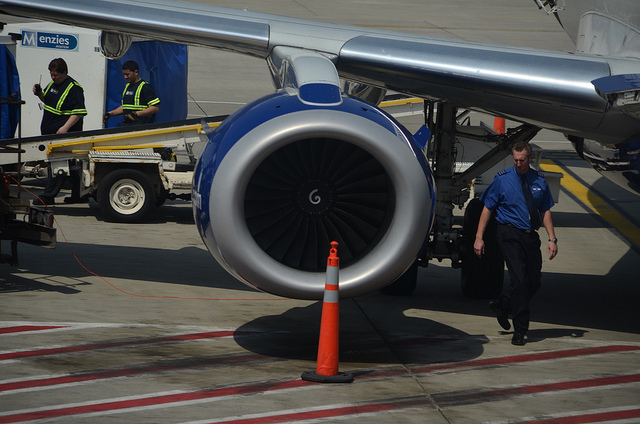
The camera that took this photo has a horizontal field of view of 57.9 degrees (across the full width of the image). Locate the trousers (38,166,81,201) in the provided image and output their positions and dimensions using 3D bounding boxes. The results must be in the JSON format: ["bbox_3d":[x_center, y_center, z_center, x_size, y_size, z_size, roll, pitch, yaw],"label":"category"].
[{"bbox_3d":[-6.001,-0.596,13.464,0.812,0.757,1.076,1,7,-20],"label":"trousers"}]

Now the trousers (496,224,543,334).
[{"bbox_3d":[2.700,0.926,7.997,0.632,1.476,0.356,7,10,12],"label":"trousers"}]

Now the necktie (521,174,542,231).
[{"bbox_3d":[2.900,-0.137,7.999,0.346,0.747,0.219,7,10,15],"label":"necktie"}]
